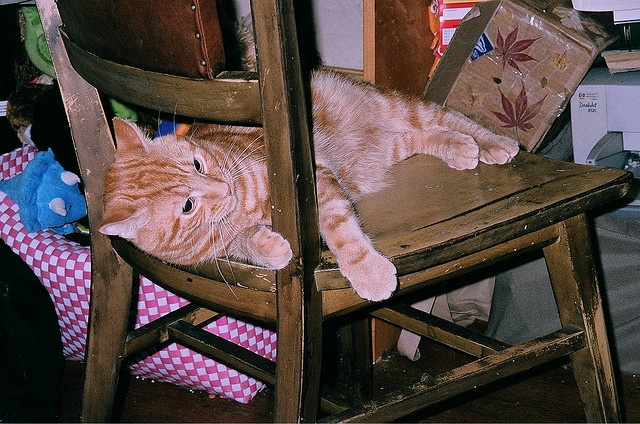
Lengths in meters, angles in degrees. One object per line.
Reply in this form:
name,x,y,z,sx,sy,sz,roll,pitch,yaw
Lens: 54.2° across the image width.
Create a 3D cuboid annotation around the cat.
cat,-0.073,-0.108,1.373,0.509,0.272,0.666,7,29,34
